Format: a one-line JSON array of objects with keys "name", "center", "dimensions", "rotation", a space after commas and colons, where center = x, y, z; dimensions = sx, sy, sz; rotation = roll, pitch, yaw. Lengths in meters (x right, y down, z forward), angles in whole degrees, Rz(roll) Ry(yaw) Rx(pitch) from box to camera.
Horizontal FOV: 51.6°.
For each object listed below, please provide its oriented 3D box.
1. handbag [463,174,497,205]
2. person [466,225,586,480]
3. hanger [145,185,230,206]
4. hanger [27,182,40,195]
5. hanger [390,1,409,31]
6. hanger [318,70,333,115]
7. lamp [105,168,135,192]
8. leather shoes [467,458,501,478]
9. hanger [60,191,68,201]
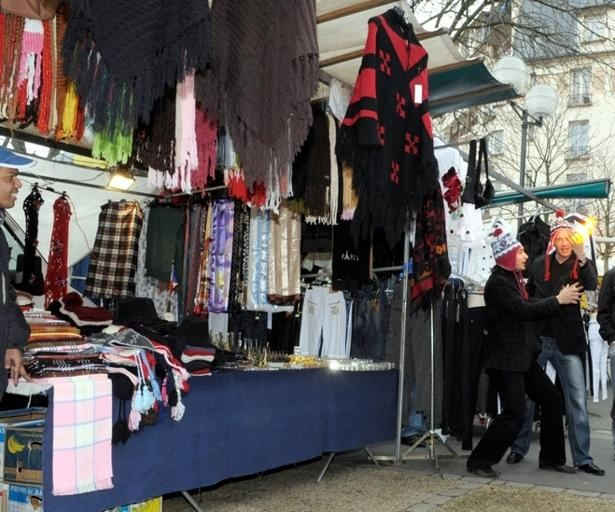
[{"name": "handbag", "center": [1.471, -0.581, 5.496], "dimensions": [0.246, 0.316, 0.205], "rotation": [1, 3, -25]}, {"name": "person", "center": [1.779, 0.743, 5.255], "dimensions": [0.875, 2.082, 0.663], "rotation": [2, -5, -19]}, {"name": "hanger", "center": [-1.215, -0.601, 6.357], "dimensions": [0.970, 0.164, 0.225], "rotation": [-2, -6, 22]}, {"name": "hanger", "center": [-2.548, -0.627, 5.875], "dimensions": [0.091, 0.121, 0.090], "rotation": [-13, -17, 38]}, {"name": "hanger", "center": [0.686, -1.759, 4.634], "dimensions": [0.109, 0.173, 0.055], "rotation": [-13, 22, -28]}, {"name": "hanger", "center": [0.150, -1.361, 5.177], "dimensions": [0.108, 0.223, 0.321], "rotation": [0, -5, 3]}, {"name": "lamp", "center": [-1.784, -0.733, 6.053], "dimensions": [0.198, 0.202, 0.224], "rotation": [-1, -13, 35]}, {"name": "leather shoes", "center": [1.425, 1.714, 5.164], "dimensions": [0.109, 0.100, 0.203], "rotation": [0, -3, -45]}, {"name": "hanger", "center": [-2.296, -0.568, 5.982], "dimensions": [0.078, 0.104, 0.084], "rotation": [-4, -3, -21]}]
